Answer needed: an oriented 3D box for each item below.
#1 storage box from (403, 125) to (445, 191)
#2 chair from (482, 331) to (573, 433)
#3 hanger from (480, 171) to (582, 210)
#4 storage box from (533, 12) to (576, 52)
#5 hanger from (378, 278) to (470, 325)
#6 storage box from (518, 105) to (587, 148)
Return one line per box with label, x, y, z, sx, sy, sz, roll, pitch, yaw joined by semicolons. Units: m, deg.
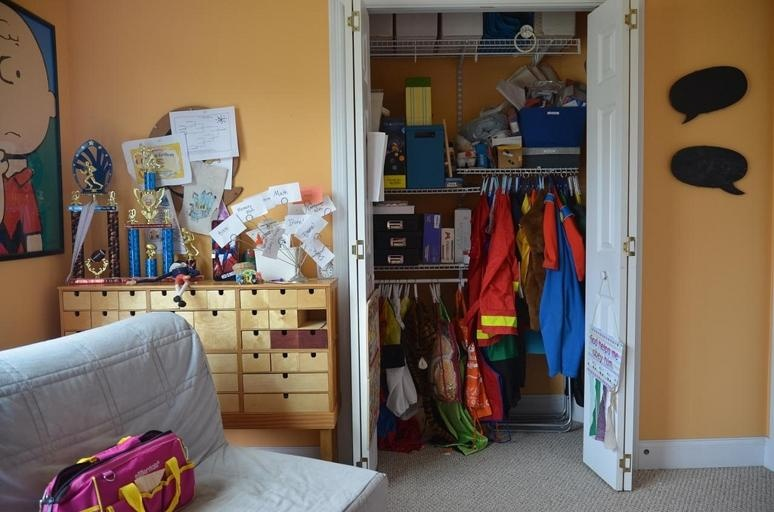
storage box;0.315;-0.769;5.030;0.303;0.493;0.254;-1;-4;7
chair;1.119;0.997;5.402;0.789;0.953;0.675;0;-1;0
hanger;1.157;-0.534;5.019;0.781;0.288;0.307;1;9;18
storage box;1.315;-1.796;4.966;0.287;0.315;0.171;-1;2;1
hanger;0.291;0.307;5.118;0.815;0.300;0.540;1;32;1
storage box;1.410;-0.981;5.409;0.460;0.619;0.905;3;13;17
